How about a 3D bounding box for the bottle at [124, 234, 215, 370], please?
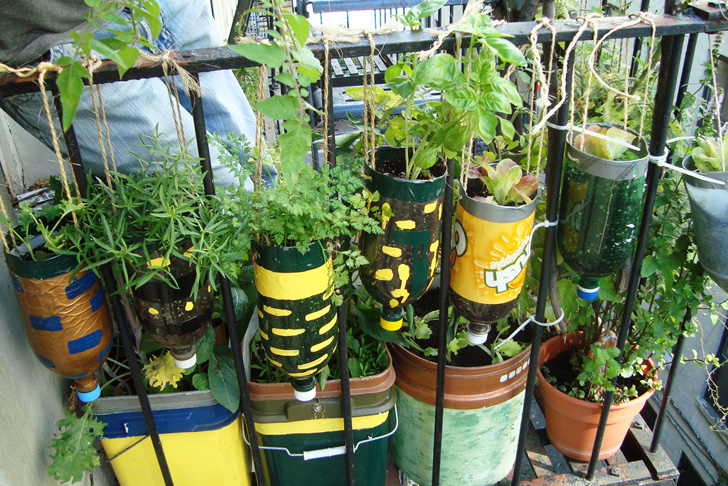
[{"bbox_3d":[-0.483,0.185,1.450,0.186,0.344,0.096,-15,28,-24],"label":"bottle"}]
